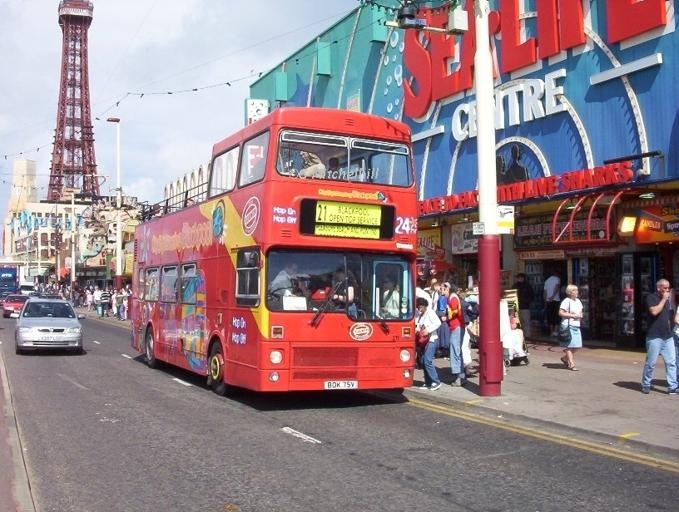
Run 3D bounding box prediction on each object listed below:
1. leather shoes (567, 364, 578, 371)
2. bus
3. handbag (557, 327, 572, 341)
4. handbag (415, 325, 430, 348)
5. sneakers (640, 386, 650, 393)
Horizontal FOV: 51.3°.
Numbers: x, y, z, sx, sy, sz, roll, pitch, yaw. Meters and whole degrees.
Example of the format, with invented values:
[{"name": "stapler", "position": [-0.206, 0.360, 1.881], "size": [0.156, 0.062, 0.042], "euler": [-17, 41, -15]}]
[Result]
[{"name": "leather shoes", "position": [5.817, 2.812, 17.689], "size": [0.258, 0.129, 0.097], "euler": [0, 1, -5]}, {"name": "bus", "position": [-2.600, 0.143, 17.885], "size": [3.055, 6.001, 10.193], "euler": [3, -4, -31]}, {"name": "handbag", "position": [5.541, 1.902, 17.579], "size": [0.375, 0.588, 0.278], "euler": [2, -4, 21]}, {"name": "handbag", "position": [1.770, 1.765, 15.219], "size": [0.282, 0.438, 0.412], "euler": [0, 3, 3]}, {"name": "sneakers", "position": [6.206, 2.736, 14.389], "size": [0.128, 0.114, 0.115], "euler": [1, 0, -4]}]
